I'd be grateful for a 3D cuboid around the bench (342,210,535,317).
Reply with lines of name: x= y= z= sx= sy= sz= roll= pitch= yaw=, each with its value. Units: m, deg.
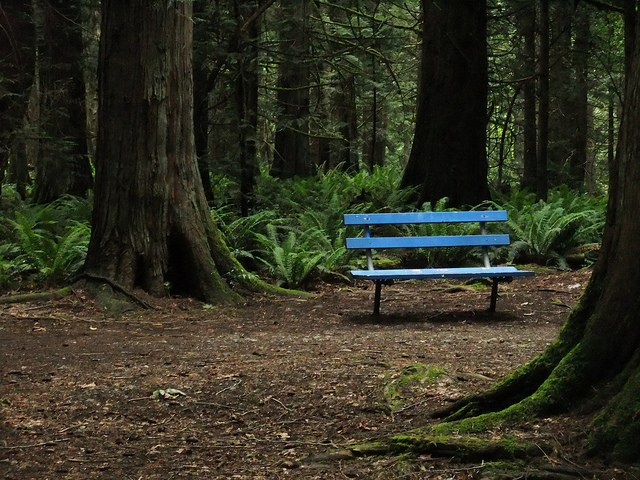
bench: x=1.550 y=0.277 z=10.429 sx=2.418 sy=1.363 sz=1.585 roll=0 pitch=10 yaw=-1
